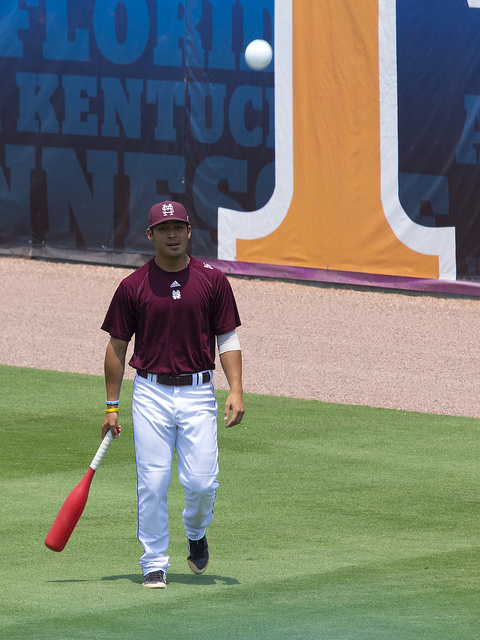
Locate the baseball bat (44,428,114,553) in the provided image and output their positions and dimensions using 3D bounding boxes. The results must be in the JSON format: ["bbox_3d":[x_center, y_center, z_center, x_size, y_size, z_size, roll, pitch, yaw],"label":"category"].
[{"bbox_3d":[-0.954,1.031,9.837,0.094,0.721,0.090,32,-25,-24],"label":"baseball bat"}]

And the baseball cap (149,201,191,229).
[{"bbox_3d":[-0.386,-0.574,9.014,0.208,0.150,0.191,2,5,0],"label":"baseball cap"}]

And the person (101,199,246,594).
[{"bbox_3d":[-0.393,0.458,8.940,0.686,2.474,0.639,-1,-30,3],"label":"person"}]
